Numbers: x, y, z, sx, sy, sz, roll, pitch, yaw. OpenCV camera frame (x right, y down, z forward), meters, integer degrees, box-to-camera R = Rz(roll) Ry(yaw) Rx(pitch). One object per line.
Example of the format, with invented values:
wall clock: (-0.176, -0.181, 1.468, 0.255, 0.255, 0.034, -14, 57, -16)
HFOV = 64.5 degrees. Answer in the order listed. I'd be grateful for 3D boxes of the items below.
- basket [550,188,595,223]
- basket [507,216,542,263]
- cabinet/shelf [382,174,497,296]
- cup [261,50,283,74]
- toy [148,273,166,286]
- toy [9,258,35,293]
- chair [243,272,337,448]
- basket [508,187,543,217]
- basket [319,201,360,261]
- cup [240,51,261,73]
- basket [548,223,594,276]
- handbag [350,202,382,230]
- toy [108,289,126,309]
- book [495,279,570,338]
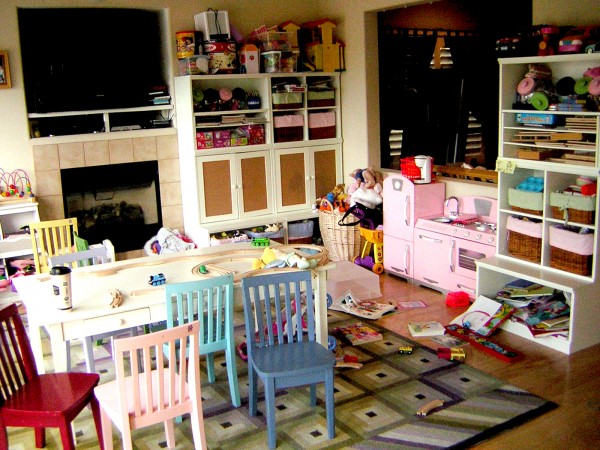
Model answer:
basket: (2.208, -0.146, 3.878, 0.225, 0.246, 0.356, -8, 12, -31)
basket: (2.015, 0.129, 4.262, 0.219, 0.352, 0.361, -7, 11, -25)
cabinet/shelf: (1.526, 0.095, 5.073, 0.457, 1.083, 1.161, -5, 12, -32)
cup: (-0.363, -2.063, 6.003, 0.250, 0.188, 0.249, -1, 19, 0)
toy: (-0.983, 0.379, 3.263, 0.068, 0.030, 0.092, 14, 16, 41)
toy: (-2.600, 0.475, 4.448, 0.276, 0.363, 0.122, 1, 6, 3)
chair: (-0.063, 0.753, 3.350, 0.658, 0.976, 1.323, -4, 15, -7)
basket: (1.989, -0.221, 4.213, 0.205, 0.152, 0.262, -9, 14, -35)
basket: (0.572, 0.110, 6.148, 0.586, 0.632, 0.582, 1, 9, 9)
cup: (-0.626, -2.037, 5.960, 0.249, 0.350, 0.249, -1, 17, 0)
basket: (2.239, 0.208, 3.913, 0.238, 0.363, 0.367, -7, 12, -27)
handbag: (0.805, -0.136, 5.901, 0.374, 0.332, 0.269, -9, 18, -17)
toy: (-1.163, 0.470, 3.007, 0.063, 0.064, 0.164, -3, 15, 0)
book: (2.049, 0.724, 4.150, 0.402, 0.120, 0.399, -12, 19, -32)
